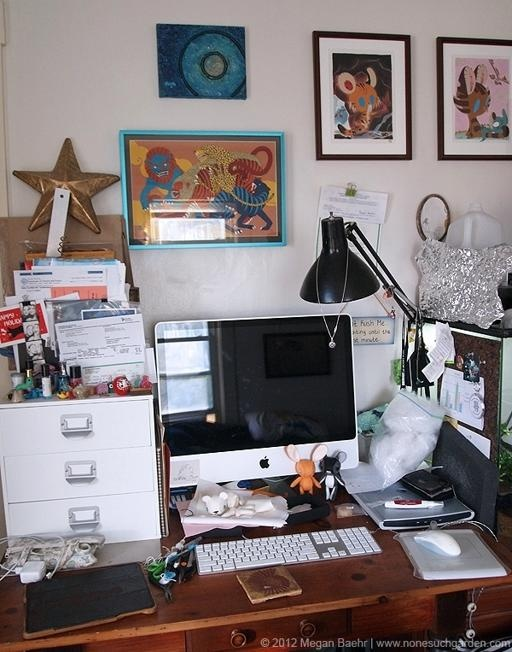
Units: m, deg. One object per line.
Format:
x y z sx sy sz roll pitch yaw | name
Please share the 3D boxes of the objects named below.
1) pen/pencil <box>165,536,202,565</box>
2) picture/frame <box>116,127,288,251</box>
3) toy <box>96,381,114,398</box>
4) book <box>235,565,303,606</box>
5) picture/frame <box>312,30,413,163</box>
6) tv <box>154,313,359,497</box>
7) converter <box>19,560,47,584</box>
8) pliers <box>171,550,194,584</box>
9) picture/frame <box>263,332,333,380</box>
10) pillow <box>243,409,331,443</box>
-0.147 0.445 1.074 0.020 0.028 0.086 9 5 22 | pen/pencil
-0.166 -0.377 1.441 0.375 0.253 0.014 -2 8 -11 | picture/frame
-0.331 0.138 1.167 0.028 0.024 0.036 0 -4 3 | toy
0.021 0.459 0.962 0.095 0.017 0.096 -4 12 -18 | book
0.284 -0.655 1.504 0.377 0.403 0.027 -4 8 -11 | picture/frame
-0.010 0.198 1.290 0.440 0.331 0.034 -5 -3 -15 | tv
-0.411 0.452 0.988 0.034 0.018 0.043 -1 12 -16 | converter
-0.140 0.459 1.017 0.025 0.010 0.075 3 3 3 | pliers
0.093 0.076 1.321 0.127 0.085 0.005 0 -6 -18 | picture/frame
0.069 0.238 1.311 0.146 0.041 0.083 6 -6 -14 | pillow
